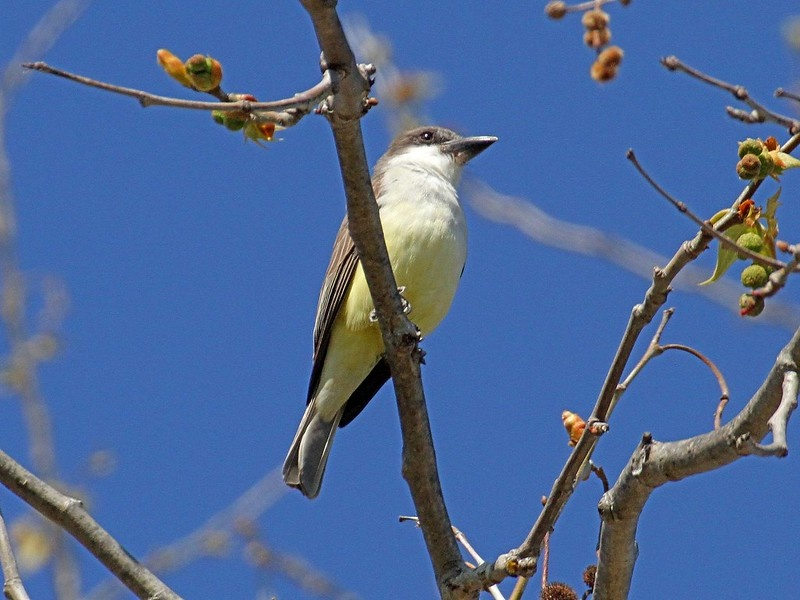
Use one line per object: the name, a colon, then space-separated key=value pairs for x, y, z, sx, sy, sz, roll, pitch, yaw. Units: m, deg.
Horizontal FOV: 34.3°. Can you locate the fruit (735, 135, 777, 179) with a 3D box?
fruit: x=1.227 y=-0.462 z=4.439 sx=0.131 sy=0.131 sz=0.083 roll=6 pitch=-19 yaw=6

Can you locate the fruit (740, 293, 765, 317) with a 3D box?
fruit: x=1.180 y=0.022 z=4.321 sx=0.075 sy=0.043 sz=0.064 roll=-13 pitch=-46 yaw=25
